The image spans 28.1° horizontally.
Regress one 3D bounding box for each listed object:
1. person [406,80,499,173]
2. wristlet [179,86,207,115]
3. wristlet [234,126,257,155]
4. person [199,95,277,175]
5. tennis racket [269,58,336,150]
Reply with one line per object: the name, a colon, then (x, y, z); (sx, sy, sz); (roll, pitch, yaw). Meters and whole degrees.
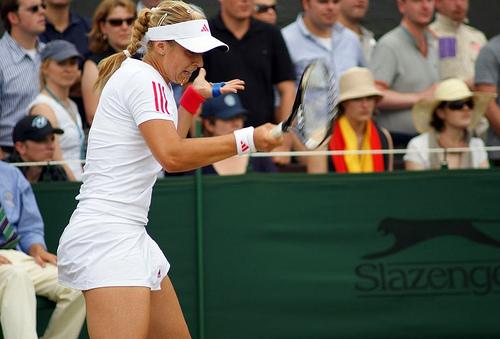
person: (1.583, -0.349, 7.934); (0.659, 0.721, 0.677); (-1, 6, 12)
wristlet: (-0.456, -0.480, 7.044); (0.191, 0.156, 0.185); (5, -3, 19)
wristlet: (-0.024, -0.192, 6.620); (0.156, 0.165, 0.150); (-7, -6, -3)
person: (-0.099, -0.299, 8.040); (0.442, 0.444, 0.737); (5, -6, -30)
tennis racket: (0.335, -0.326, 6.720); (0.272, 0.069, 0.641); (-17, -27, 17)
